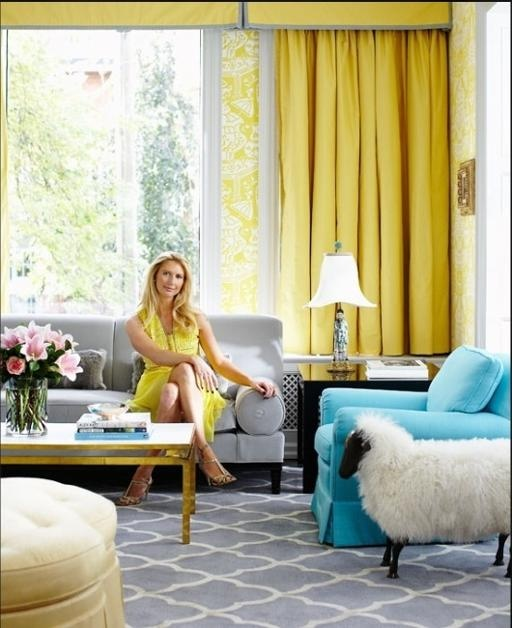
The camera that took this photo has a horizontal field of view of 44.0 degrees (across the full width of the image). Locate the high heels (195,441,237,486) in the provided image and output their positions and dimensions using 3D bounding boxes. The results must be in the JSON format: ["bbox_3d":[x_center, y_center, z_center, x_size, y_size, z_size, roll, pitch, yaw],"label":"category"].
[{"bbox_3d":[-0.179,0.617,2.735,0.089,0.125,0.269,-10,21,-32],"label":"high heels"}]

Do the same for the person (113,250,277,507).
[{"bbox_3d":[-0.277,0.241,2.916,0.641,1.198,0.545,-13,-19,38],"label":"person"}]

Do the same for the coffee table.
[{"bbox_3d":[0.511,0.465,3.027,0.585,0.485,0.598,1,4,1],"label":"coffee table"}]

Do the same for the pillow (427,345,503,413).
[{"bbox_3d":[0.722,0.236,2.246,0.087,0.234,0.224,23,-2,-3],"label":"pillow"}]

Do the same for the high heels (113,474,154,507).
[{"bbox_3d":[-0.514,0.744,2.662,0.077,0.101,0.209,0,-13,11],"label":"high heels"}]
